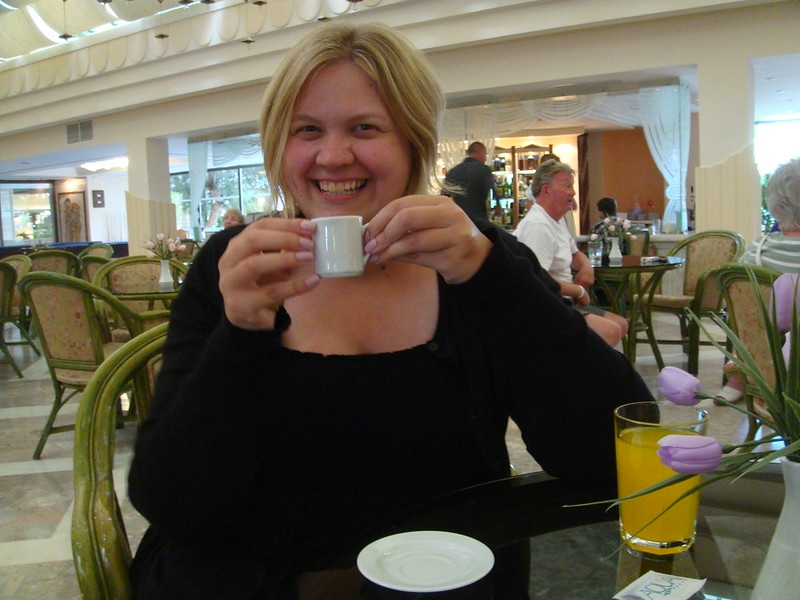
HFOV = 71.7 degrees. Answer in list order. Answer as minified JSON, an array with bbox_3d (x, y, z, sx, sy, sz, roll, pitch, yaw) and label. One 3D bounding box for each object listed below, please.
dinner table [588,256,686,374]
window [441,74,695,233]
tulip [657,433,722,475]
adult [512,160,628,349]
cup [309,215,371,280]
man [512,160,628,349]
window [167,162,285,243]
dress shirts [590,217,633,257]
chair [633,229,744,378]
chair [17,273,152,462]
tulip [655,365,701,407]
[{"bbox_3d":[2.010,0.095,4.615,0.678,0.579,0.640,-14,-3,-24],"label":"dinner table"},{"bbox_3d":[2.618,-2.156,9.127,3.891,2.238,0.199,8,19,38],"label":"window"},{"bbox_3d":[0.279,0.147,0.535,0.050,0.027,0.040,-2,-6,44],"label":"tulip"},{"bbox_3d":[1.264,-0.264,4.167,0.925,1.527,0.813,8,10,28],"label":"adult"},{"bbox_3d":[-0.078,-0.089,0.952,0.127,0.102,0.078,-3,-3,-10],"label":"cup"},{"bbox_3d":[1.275,-0.294,4.191,0.916,1.480,0.808,7,10,24],"label":"man"},{"bbox_3d":[-4.670,-2.914,14.400,3.703,2.072,0.055,0,2,21],"label":"window"},{"bbox_3d":[1.901,-0.539,4.918,0.335,0.353,0.316,0,4,-7],"label":"dress shirts"},{"bbox_3d":[2.347,-0.027,4.776,0.779,1.243,0.865,2,3,4],"label":"chair"},{"bbox_3d":[-1.725,0.357,3.318,0.882,1.071,0.853,-6,6,-43],"label":"chair"},{"bbox_3d":[0.327,0.096,0.676,0.036,0.030,0.060,-38,32,-19],"label":"tulip"}]
